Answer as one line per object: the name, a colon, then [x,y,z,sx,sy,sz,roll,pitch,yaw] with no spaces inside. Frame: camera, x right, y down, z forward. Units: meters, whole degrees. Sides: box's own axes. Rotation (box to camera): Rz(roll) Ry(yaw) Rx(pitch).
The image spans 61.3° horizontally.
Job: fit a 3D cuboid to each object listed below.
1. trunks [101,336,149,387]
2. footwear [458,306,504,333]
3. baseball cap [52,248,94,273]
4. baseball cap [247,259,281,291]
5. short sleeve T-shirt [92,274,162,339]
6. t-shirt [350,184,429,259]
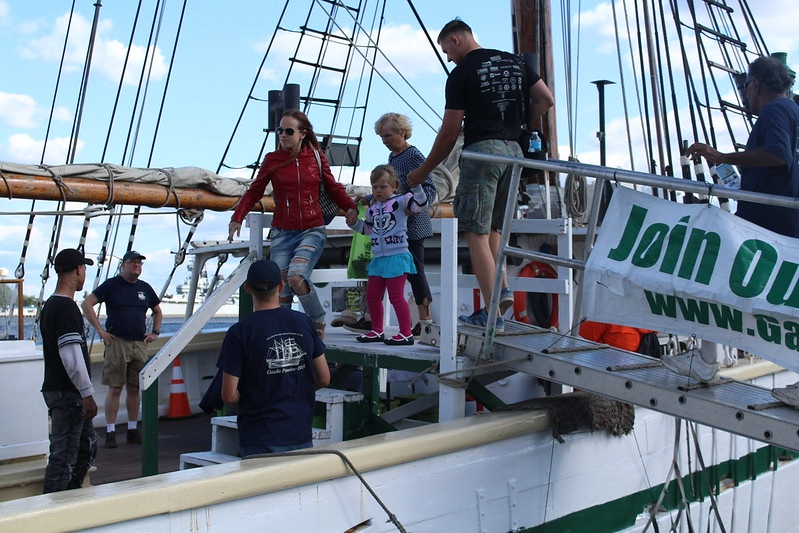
trunks: [-3.091,1.052,7.571,0.582,0.677,0.394,8,-11,-40]
footwear: [0.611,0.389,4.967,0.137,0.167,0.392,2,4,-39]
baseball cap: [-2.462,-0.038,5.048,0.246,0.130,0.174,-20,16,-39]
baseball cap: [-0.835,0.053,4.119,0.156,0.120,0.222,0,14,-3]
short sleeve T-shirt: [-3.107,0.470,7.635,0.843,0.784,0.404,4,-9,-40]
t-shirt: [-0.074,-0.378,5.689,0.200,0.409,0.676,22,-31,-37]
